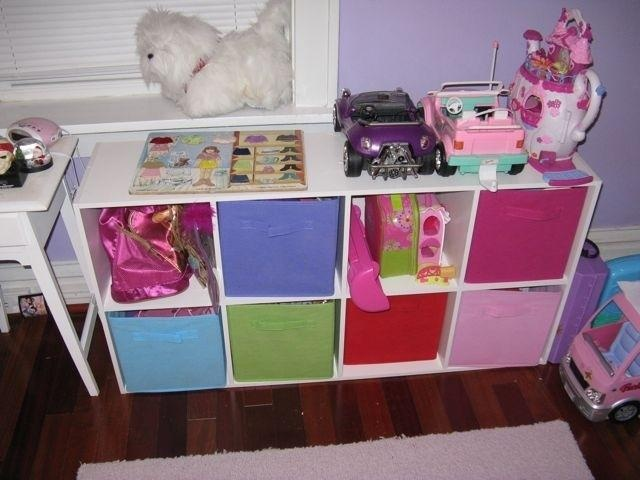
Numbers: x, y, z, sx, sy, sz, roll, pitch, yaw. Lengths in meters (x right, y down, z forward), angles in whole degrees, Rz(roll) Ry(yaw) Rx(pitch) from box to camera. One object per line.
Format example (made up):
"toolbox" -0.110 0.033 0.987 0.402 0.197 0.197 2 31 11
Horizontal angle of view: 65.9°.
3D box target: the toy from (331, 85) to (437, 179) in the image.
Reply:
"toy" 0.228 -0.379 1.757 0.322 0.183 0.389 -4 39 -4

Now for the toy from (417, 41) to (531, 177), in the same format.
"toy" 0.482 -0.460 1.791 0.321 0.422 0.500 0 48 2

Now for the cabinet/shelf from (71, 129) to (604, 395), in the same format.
"cabinet/shelf" 0.048 0.065 1.795 1.092 0.617 0.342 -3 46 -5

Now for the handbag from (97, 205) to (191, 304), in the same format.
"handbag" -0.636 0.045 1.821 0.298 0.374 0.238 -8 4 -21

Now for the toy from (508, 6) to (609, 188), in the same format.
"toy" 0.828 -0.507 1.743 0.265 0.530 0.399 -15 39 -4

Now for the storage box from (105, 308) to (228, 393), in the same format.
"storage box" -0.559 0.418 1.859 0.329 0.335 0.339 -1 34 -4

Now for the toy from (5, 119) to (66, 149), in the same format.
"toy" -0.963 -0.354 1.695 0.127 0.074 0.107 6 11 31

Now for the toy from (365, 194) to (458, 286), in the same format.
"toy" 0.290 -0.017 1.908 0.299 0.400 0.326 -5 36 -7

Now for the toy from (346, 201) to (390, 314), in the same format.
"toy" 0.149 0.058 1.837 0.116 0.147 0.413 -2 47 -4

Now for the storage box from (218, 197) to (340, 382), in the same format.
"storage box" -0.156 0.157 1.781 0.444 0.838 0.504 -2 43 -3

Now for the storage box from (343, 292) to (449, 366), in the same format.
"storage box" 0.296 0.346 1.972 0.316 0.321 0.327 -1 39 -2
